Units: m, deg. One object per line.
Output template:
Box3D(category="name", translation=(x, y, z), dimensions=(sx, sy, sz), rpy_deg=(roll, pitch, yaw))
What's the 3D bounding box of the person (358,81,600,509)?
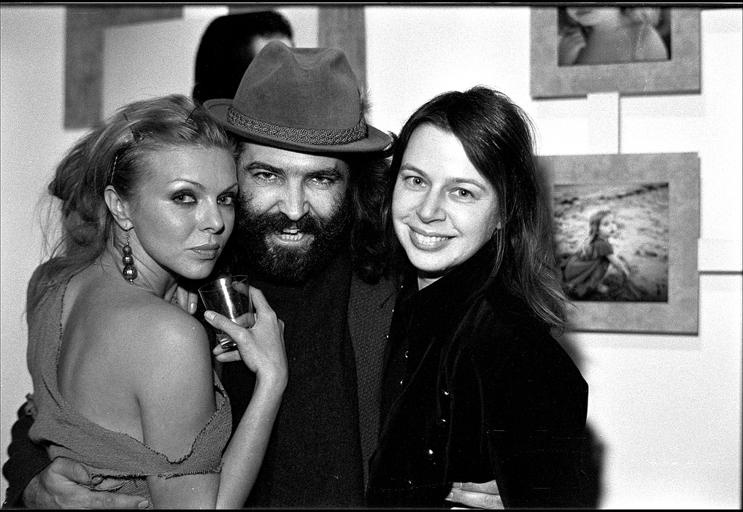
Box3D(category="person", translation=(0.446, 0.164, 2.981), dimensions=(0.899, 1.690, 0.633), rpy_deg=(3, 6, 15))
